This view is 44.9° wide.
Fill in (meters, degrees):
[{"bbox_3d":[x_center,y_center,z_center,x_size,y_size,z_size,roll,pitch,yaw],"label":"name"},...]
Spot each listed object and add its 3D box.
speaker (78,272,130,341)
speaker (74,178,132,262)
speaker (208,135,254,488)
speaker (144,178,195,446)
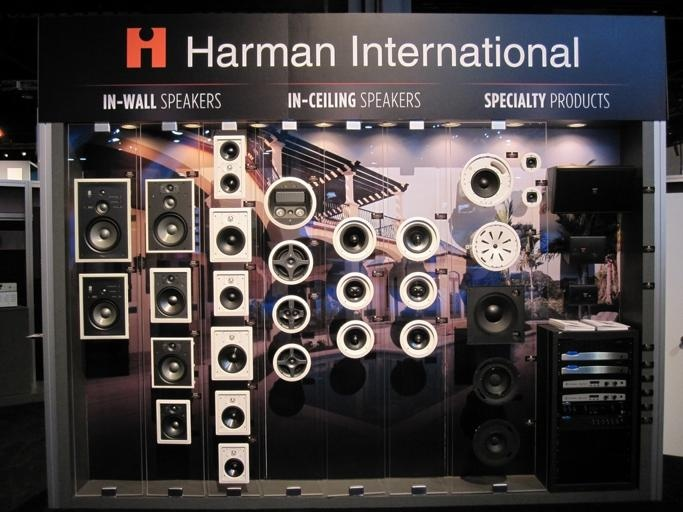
[{"bbox_3d":[-2.374,0.504,8.317,0.482,0.632,0.216,0,-8,-13],"label":"speaker"},{"bbox_3d":[-2.432,-0.389,8.486,0.551,0.823,0.459,-1,12,-19],"label":"speaker"},{"bbox_3d":[-1.088,0.562,8.290,0.426,3.453,0.598,-1,-8,-8],"label":"speaker"},{"bbox_3d":[-1.693,-0.043,8.269,0.500,1.402,0.286,0,-8,-11],"label":"speaker"}]
